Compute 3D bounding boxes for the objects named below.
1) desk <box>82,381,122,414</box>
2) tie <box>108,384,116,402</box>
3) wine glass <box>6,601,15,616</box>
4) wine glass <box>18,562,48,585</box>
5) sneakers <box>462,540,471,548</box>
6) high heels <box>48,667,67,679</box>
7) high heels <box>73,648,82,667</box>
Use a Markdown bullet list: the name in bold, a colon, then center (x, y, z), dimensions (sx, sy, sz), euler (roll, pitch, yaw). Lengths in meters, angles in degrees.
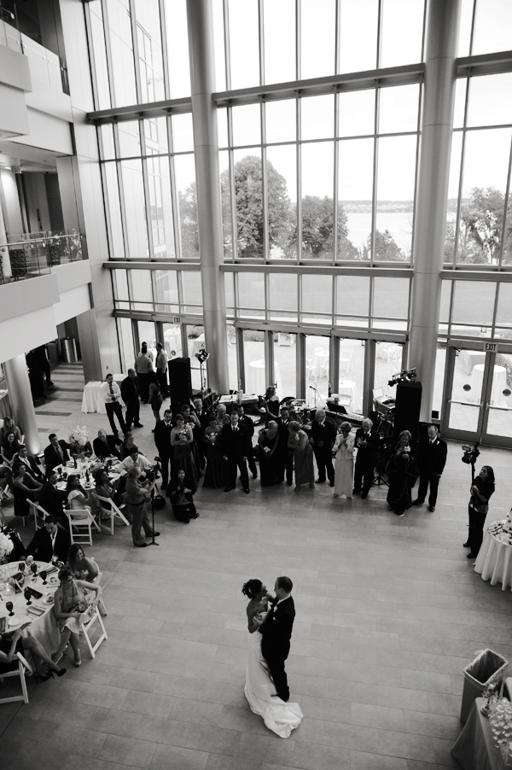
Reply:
- **desk**: center (-3.765, 0.310, 13.044), dimensions (0.523, 0.451, 0.431), euler (13, 32, 29)
- **tie**: center (-3.121, 0.179, 11.636), dimensions (0.060, 0.306, 0.192), euler (-4, 14, -10)
- **wine glass**: center (-2.392, 2.142, 5.174), dimensions (0.063, 0.113, 0.178), euler (-6, 12, -25)
- **wine glass**: center (-2.428, 2.044, 5.819), dimensions (0.200, 0.083, 0.222), euler (14, 14, -10)
- **sneakers**: center (2.888, 2.186, 7.299), dimensions (0.050, 0.132, 0.114), euler (17, -4, 23)
- **high heels**: center (-1.935, 2.810, 5.214), dimensions (0.187, 0.094, 0.072), euler (-4, -8, 2)
- **high heels**: center (-1.796, 2.754, 5.375), dimensions (0.055, 0.091, 0.206), euler (2, -13, -16)
